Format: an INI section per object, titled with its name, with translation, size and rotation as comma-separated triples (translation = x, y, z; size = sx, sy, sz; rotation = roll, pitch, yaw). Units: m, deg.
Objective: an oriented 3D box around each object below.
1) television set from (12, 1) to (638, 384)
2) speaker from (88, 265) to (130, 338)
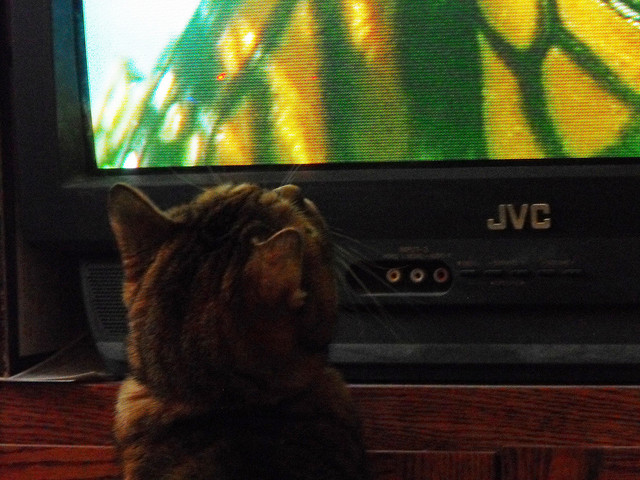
[television set]
translation = 0.021, -0.160, 1.564
size = 1.275, 0.955, 0.653
rotation = 1, -1, 5
[speaker]
translation = -0.378, 0.111, 1.263
size = 0.034, 0.120, 0.092
rotation = -19, -8, 21
